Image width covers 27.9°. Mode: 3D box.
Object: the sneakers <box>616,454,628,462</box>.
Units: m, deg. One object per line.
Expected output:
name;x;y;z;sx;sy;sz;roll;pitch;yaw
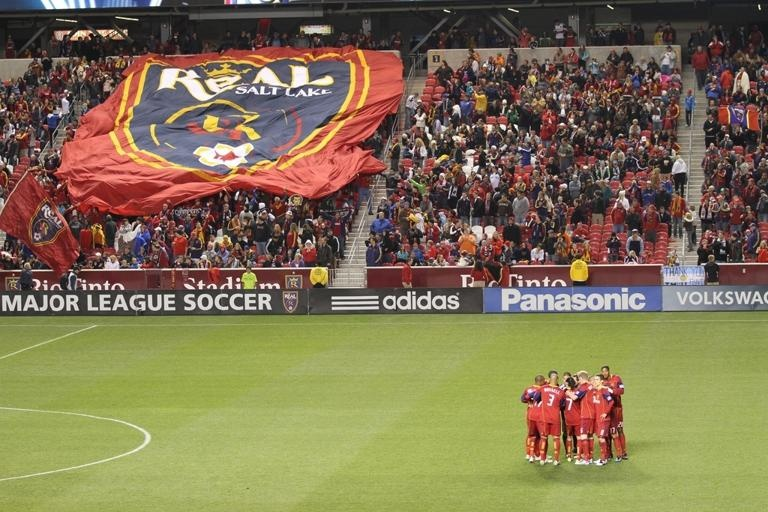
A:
sneakers;8.049;6.822;52.719;0.173;0.214;0.519;-4;1;33

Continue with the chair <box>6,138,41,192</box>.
chair;-17.295;-4.398;74.926;1.016;1.395;3.858;10;33;2
